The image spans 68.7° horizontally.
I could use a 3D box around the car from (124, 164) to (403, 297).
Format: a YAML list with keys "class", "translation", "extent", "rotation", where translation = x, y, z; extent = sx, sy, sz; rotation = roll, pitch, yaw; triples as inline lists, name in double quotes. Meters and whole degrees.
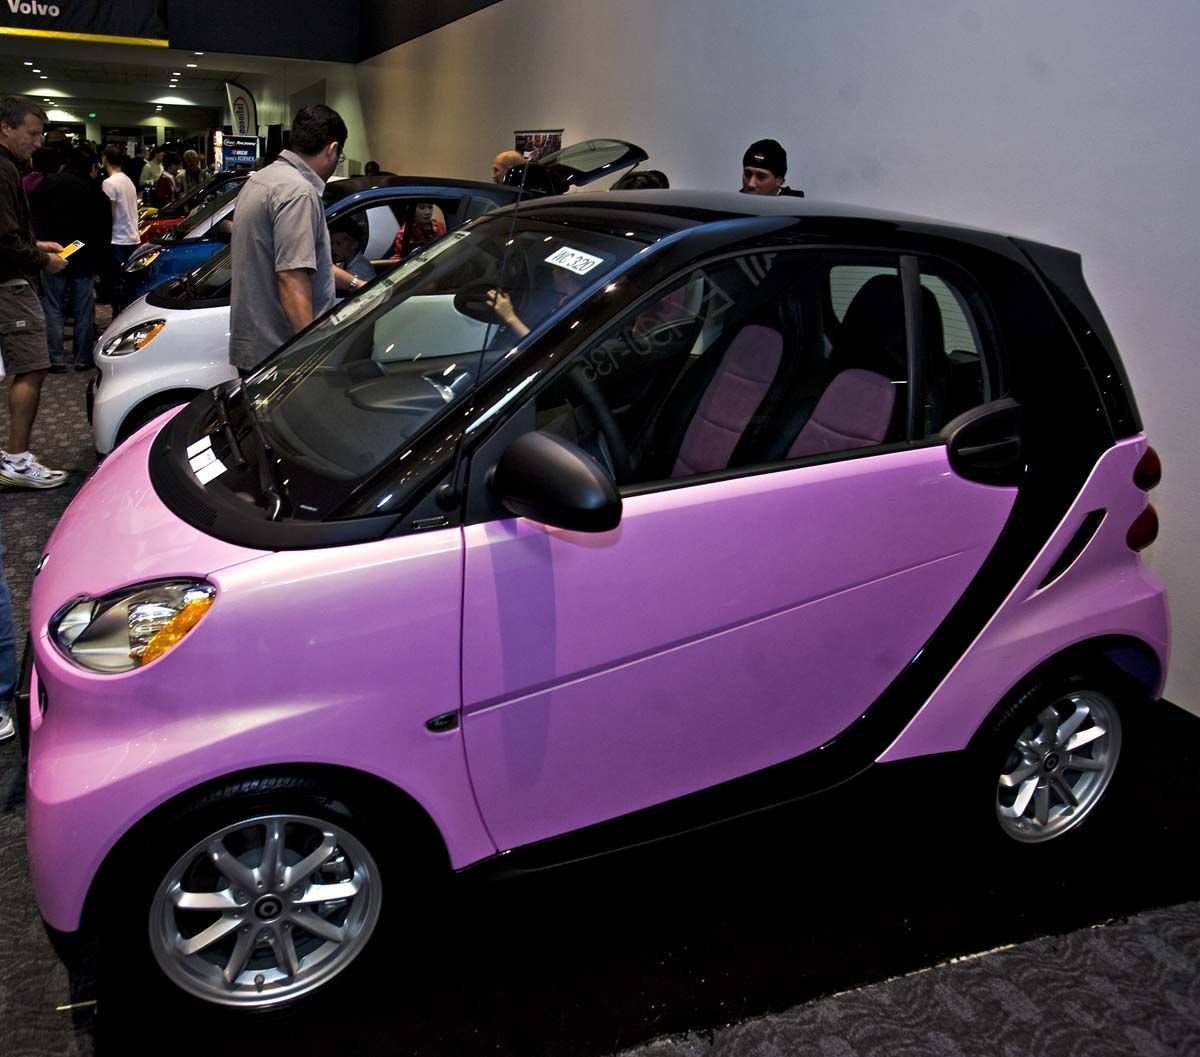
- class: "car"
  translation: [-2.641, -2.124, 6.764]
  extent: [2.197, 1.160, 1.350]
  rotation: [-2, 20, -2]

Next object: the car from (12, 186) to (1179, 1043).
- class: "car"
  translation: [-0.019, 0.061, 2.239]
  extent: [2.370, 1.327, 1.591]
  rotation: [-4, 25, -21]

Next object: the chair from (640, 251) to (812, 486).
- class: "chair"
  translation: [0.285, -0.348, 1.984]
  extent: [0.321, 0.385, 0.273]
  rotation: [-25, 45, -25]
